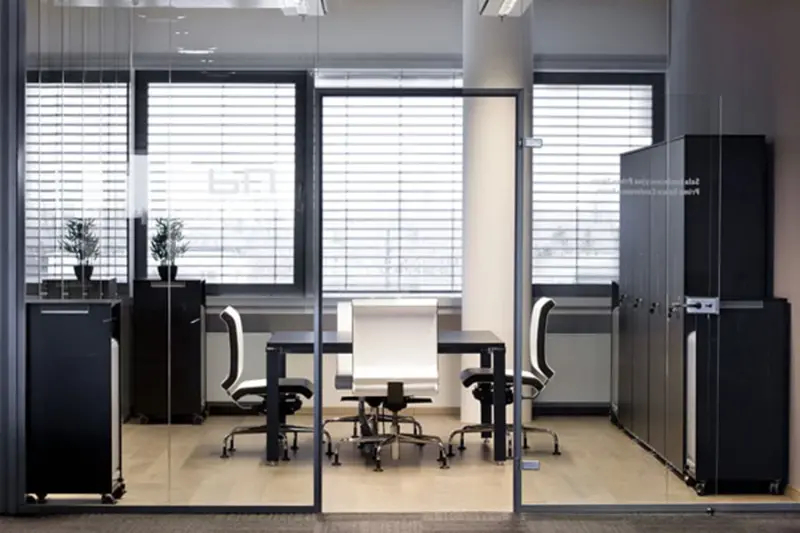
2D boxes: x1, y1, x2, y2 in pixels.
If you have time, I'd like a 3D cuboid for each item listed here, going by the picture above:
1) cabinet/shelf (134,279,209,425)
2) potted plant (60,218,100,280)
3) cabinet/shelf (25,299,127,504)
[{"bbox_3d":[-1.746,0.622,5.583,0.611,1.003,0.567,3,-6,-16],"label":"cabinet/shelf"},{"bbox_3d":[-2.258,-0.125,5.451,0.270,0.432,0.095,2,9,18],"label":"potted plant"},{"bbox_3d":[-2.284,0.940,5.424,0.670,1.374,0.214,-1,9,0],"label":"cabinet/shelf"}]
